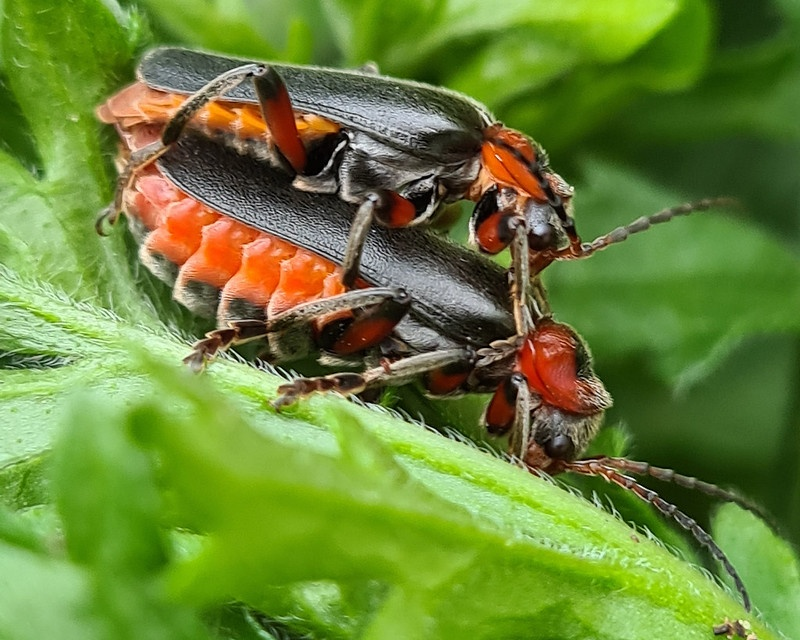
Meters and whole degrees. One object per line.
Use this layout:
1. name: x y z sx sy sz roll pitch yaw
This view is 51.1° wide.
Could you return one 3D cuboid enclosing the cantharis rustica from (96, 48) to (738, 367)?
1. cantharis rustica: 0.150 -0.585 3.116 2.251 1.061 0.437 12 44 -5
